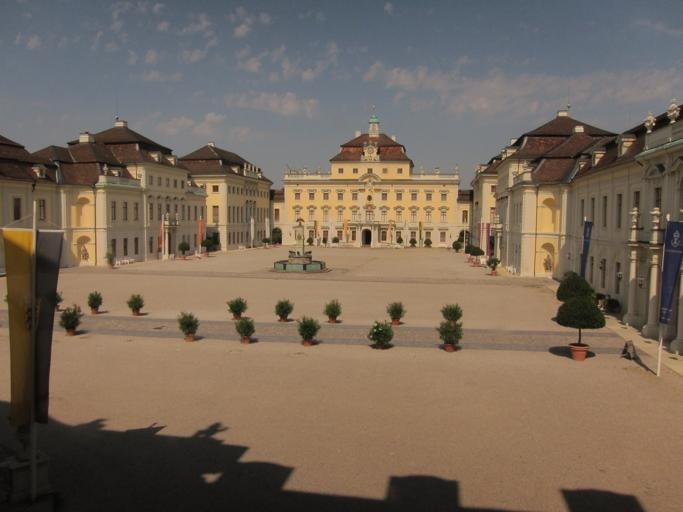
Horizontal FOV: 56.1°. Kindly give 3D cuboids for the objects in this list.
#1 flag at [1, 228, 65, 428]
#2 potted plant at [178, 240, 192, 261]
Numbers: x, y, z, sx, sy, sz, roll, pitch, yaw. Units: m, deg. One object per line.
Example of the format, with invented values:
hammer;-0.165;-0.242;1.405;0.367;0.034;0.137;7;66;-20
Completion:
flag;-7.293;1.687;15.097;1.533;4.658;0.897;-13;18;-43
potted plant;-16.041;-0.551;64.891;1.461;2.203;1.575;0;3;23
